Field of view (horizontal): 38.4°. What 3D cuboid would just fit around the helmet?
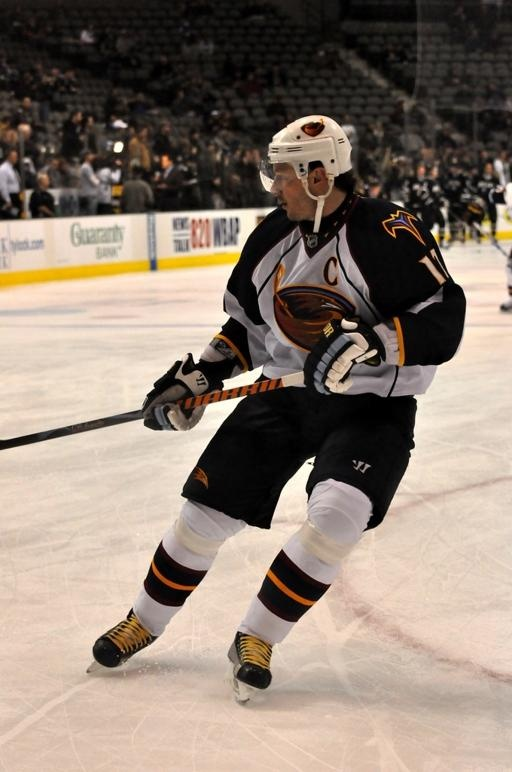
[{"bbox_3d":[0.113,-0.483,1.534,0.193,0.134,0.136,1,10,7],"label":"helmet"}]

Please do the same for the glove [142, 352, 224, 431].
[{"bbox_3d":[-0.184,0.013,1.768,0.196,0.143,0.093,-40,32,-25],"label":"glove"}]

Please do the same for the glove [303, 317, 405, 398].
[{"bbox_3d":[0.172,-0.063,1.401,0.176,0.123,0.075,-18,38,5],"label":"glove"}]

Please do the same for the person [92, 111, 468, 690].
[{"bbox_3d":[0.052,0.022,1.537,0.681,1.160,0.565,6,14,25],"label":"person"}]

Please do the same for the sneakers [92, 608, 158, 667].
[{"bbox_3d":[-0.276,0.537,1.591,0.072,0.059,0.184,-38,-5,13],"label":"sneakers"}]
